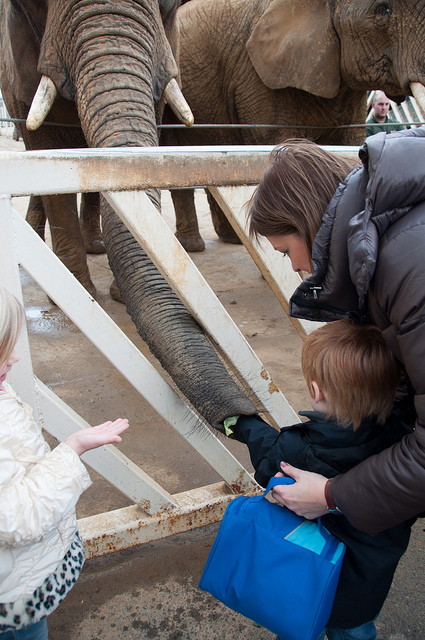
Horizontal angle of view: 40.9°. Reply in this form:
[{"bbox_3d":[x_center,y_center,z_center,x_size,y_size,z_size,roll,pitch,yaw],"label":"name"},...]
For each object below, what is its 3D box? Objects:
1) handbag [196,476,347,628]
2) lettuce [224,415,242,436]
[{"bbox_3d":[0.133,0.487,1.194,0.287,0.296,0.133,17,12,36],"label":"handbag"},{"bbox_3d":[0.052,0.254,1.376,0.046,0.042,0.014,5,-13,40],"label":"lettuce"}]
